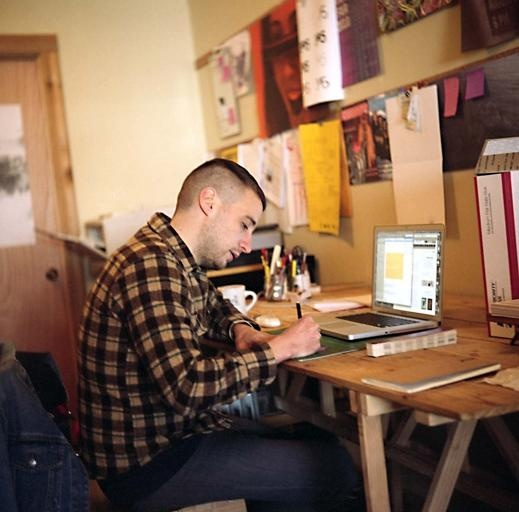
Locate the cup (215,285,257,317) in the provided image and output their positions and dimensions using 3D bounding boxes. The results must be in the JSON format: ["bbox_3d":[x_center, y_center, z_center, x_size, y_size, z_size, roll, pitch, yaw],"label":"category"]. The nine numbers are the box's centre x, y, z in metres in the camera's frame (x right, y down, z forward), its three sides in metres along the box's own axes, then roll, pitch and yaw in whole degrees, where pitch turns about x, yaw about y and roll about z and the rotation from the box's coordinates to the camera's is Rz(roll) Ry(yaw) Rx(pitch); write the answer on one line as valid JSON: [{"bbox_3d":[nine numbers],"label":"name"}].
[{"bbox_3d":[-0.075,0.163,1.602,0.132,0.122,0.084,1,-5,-39],"label":"cup"}]

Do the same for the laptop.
[{"bbox_3d":[0.385,0.062,1.262,0.283,0.288,0.345,2,1,-23],"label":"laptop"}]

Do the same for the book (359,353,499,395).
[{"bbox_3d":[0.306,0.209,0.791,0.248,0.022,0.121,-9,6,-23],"label":"book"}]

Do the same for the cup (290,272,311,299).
[{"bbox_3d":[0.177,0.116,1.813,0.080,0.098,0.089,-2,-7,10],"label":"cup"}]
